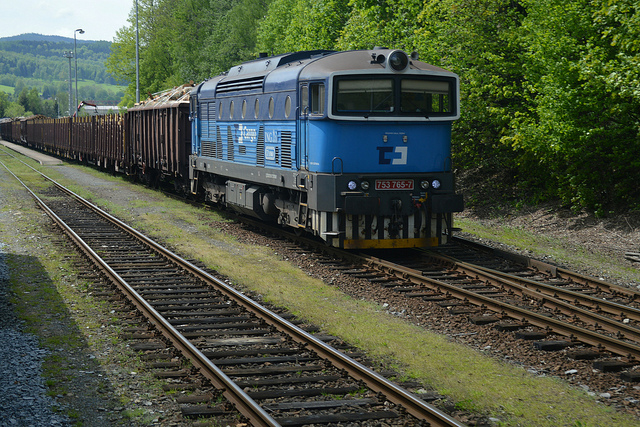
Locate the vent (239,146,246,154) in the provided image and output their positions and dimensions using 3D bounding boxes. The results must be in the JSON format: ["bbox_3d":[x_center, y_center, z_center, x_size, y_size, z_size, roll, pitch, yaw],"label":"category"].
[{"bbox_3d":[-2.444,-2.002,17.943,0.072,0.216,0.331,9,0,-22],"label":"vent"}]
